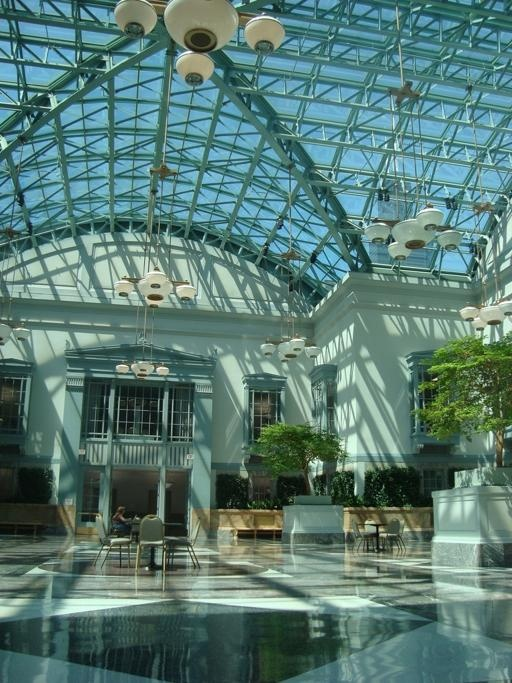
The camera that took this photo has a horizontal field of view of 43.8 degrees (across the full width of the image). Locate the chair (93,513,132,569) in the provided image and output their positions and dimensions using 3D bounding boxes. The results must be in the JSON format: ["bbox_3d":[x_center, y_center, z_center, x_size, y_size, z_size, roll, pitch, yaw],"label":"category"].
[{"bbox_3d":[-2.782,3.835,12.400,0.696,0.915,0.657,7,-10,-35],"label":"chair"}]

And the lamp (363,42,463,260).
[{"bbox_3d":[2.333,-2.672,9.577,1.217,2.244,0.992,-5,-1,-45],"label":"lamp"}]

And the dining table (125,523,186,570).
[{"bbox_3d":[-1.787,3.431,10.854,0.593,0.833,0.586,6,-27,-16],"label":"dining table"}]
